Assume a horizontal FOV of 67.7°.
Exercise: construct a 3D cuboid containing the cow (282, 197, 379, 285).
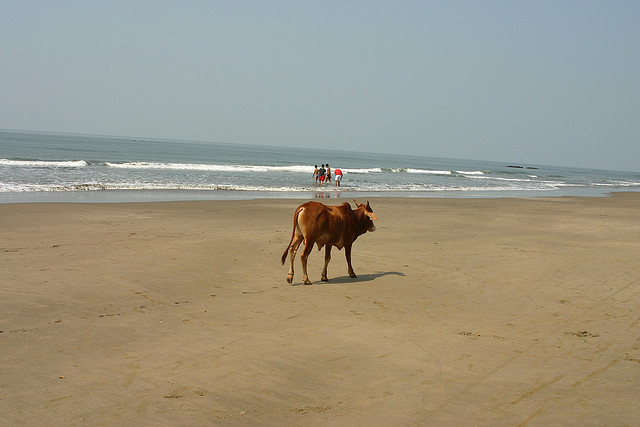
[{"bbox_3d":[0.337,0.599,11.346,1.066,1.983,3.341,-2,-3,43],"label":"cow"}]
